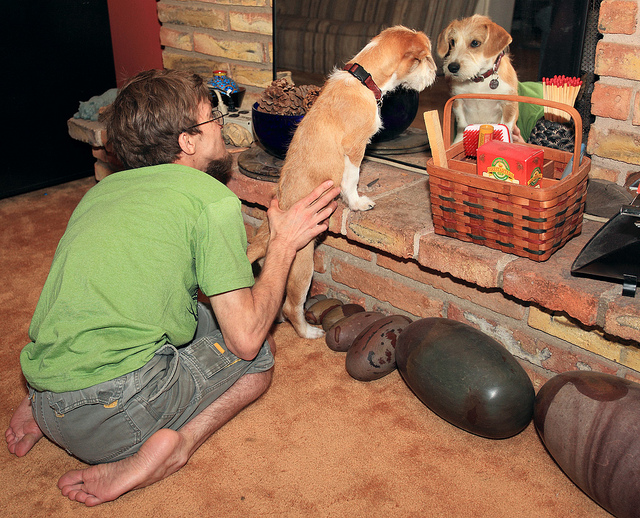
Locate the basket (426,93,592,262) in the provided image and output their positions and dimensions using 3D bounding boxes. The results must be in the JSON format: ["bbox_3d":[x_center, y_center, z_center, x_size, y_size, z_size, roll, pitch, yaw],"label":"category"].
[{"bbox_3d":[0.816,-0.331,2.124,0.549,0.568,0.511,18,37,35],"label":"basket"}]

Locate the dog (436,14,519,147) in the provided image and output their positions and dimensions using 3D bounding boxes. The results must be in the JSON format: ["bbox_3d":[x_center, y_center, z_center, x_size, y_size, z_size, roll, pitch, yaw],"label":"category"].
[{"bbox_3d":[0.977,-0.961,2.751,0.353,0.628,1.052,12,21,36],"label":"dog"}]

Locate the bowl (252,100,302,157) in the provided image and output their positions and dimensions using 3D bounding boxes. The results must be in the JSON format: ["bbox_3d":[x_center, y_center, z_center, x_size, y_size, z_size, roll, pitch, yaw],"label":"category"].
[{"bbox_3d":[-0.247,-0.740,2.899,0.281,0.228,0.295,9,16,-3],"label":"bowl"}]

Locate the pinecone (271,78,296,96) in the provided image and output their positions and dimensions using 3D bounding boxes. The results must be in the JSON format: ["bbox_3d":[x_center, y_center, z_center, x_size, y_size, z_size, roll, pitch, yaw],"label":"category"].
[{"bbox_3d":[-0.216,-1.006,2.852,0.143,0.059,0.110,28,34,15],"label":"pinecone"}]

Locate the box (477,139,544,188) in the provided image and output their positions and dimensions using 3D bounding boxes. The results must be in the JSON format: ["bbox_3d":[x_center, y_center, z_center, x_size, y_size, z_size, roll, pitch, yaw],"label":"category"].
[{"bbox_3d":[0.783,-0.393,2.062,0.252,0.155,0.201,25,39,31],"label":"box"}]

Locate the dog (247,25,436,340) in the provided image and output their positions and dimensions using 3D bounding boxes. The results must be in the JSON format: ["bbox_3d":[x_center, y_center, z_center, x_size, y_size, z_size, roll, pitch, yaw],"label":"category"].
[{"bbox_3d":[0.092,-0.354,2.590,0.513,1.500,1.043,20,36,26],"label":"dog"}]
